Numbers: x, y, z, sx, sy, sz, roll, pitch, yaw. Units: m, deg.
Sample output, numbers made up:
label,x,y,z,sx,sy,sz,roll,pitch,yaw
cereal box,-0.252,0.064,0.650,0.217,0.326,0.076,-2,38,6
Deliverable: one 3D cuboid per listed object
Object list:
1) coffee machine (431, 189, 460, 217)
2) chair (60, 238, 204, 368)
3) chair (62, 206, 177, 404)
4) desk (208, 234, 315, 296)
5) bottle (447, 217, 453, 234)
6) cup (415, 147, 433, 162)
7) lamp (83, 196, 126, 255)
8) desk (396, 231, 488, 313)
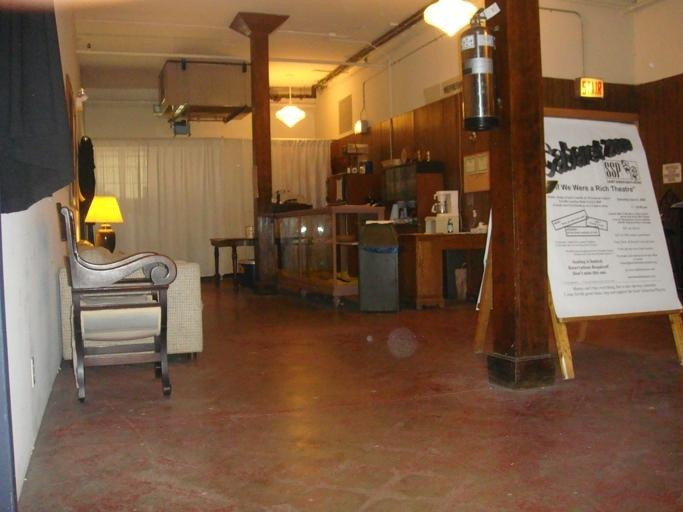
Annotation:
label,x,y,z,sx,sy,sz,roll,pitch,yaw
coffee machine,1.467,-0.760,7.967,0.407,0.486,0.275,1,0,3
chair,-1.633,0.255,4.609,0.905,0.876,0.917,-1,5,-20
chair,-1.528,0.313,3.923,0.714,1.184,0.796,0,-2,-23
desk,-1.640,-0.099,10.040,0.861,1.107,1.585,2,4,38
bottle,1.443,-0.412,7.548,0.067,0.183,0.206,0,4,16
cup,1.290,-1.587,8.859,0.146,0.340,0.335,0,3,-16
lamp,-2.907,-0.355,6.969,0.406,0.771,0.421,-3,6,-26
desk,1.246,0.171,7.226,1.057,0.920,0.916,-1,4,2
